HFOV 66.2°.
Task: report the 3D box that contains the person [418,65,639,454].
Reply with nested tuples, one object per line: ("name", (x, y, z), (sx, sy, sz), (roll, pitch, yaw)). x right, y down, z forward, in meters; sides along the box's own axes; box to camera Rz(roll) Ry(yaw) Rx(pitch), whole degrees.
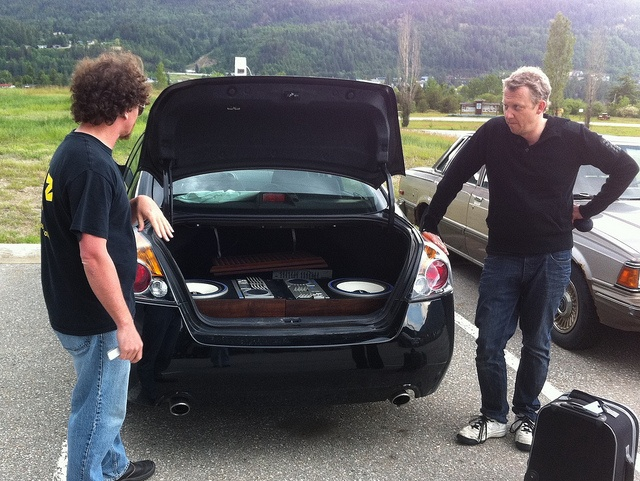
("person", (1.179, 0.132, 2.949), (1.137, 2.151, 0.866), (4, 23, 12))

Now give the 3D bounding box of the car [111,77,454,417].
("car", (-0.498, -0.474, 4.218), (1.951, 1.743, 3.750), (-1, 22, -13))

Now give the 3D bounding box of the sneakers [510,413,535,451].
("sneakers", (1.293, 1.181, 3.070), (0.143, 0.131, 0.311), (8, 4, 22))

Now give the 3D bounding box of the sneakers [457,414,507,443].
("sneakers", (1.019, 1.177, 3.063), (0.284, 0.124, 0.138), (-5, 25, -30))

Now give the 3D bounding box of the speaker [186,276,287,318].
("speaker", (-0.460, 0.401, 2.901), (0.523, 0.156, 0.113), (-4, 23, -6))

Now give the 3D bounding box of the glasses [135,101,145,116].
("glasses", (-0.795, -0.593, 2.204), (0.014, 0.046, 0.047), (18, 58, -10))

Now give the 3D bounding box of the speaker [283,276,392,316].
("speaker", (0.103, 0.384, 3.047), (0.641, 0.122, 0.148), (-4, 23, -6))
